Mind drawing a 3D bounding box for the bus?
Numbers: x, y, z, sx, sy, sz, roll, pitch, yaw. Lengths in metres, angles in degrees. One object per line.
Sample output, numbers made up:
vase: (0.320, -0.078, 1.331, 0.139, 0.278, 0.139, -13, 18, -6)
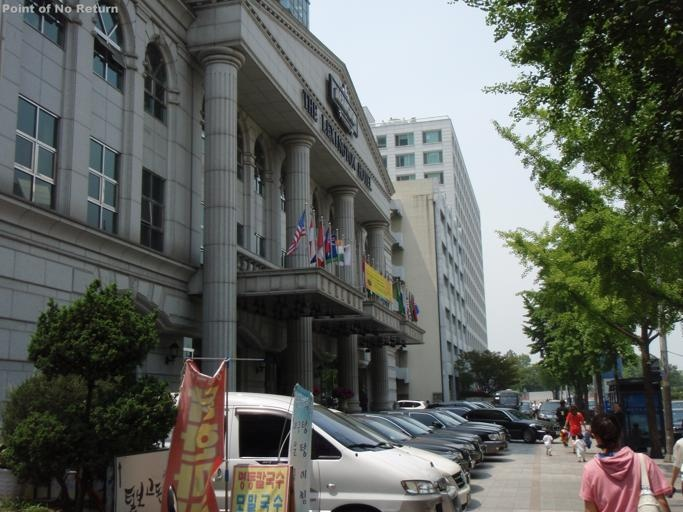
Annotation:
bus: (11.776, 5.908, 26.394, 2.128, 3.179, 1.834, -1, -5, 0)

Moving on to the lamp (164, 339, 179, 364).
lamp: (-5.884, 3.353, 22.759, 0.276, 0.767, 0.605, -10, -18, 25)
